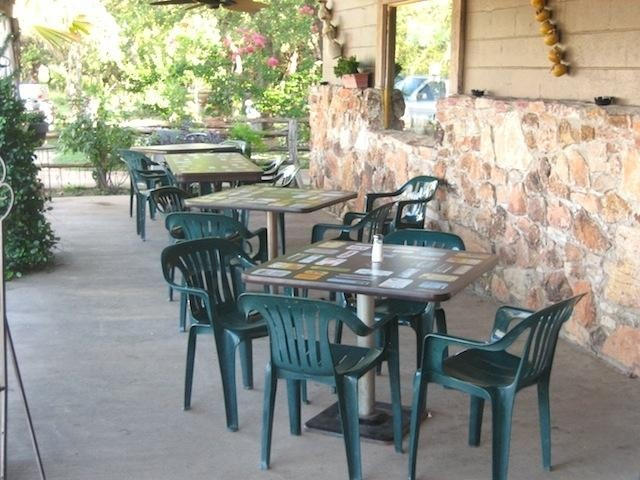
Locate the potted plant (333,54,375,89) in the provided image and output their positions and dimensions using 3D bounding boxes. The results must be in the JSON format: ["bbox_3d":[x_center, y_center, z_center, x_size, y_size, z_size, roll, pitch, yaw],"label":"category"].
[{"bbox_3d":[0.475,-2.306,7.943,0.590,0.383,0.489,-6,13,-11],"label":"potted plant"}]

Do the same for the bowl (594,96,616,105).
[{"bbox_3d":[2.113,-1.020,4.273,0.149,0.065,0.106,2,5,7],"label":"bowl"}]
